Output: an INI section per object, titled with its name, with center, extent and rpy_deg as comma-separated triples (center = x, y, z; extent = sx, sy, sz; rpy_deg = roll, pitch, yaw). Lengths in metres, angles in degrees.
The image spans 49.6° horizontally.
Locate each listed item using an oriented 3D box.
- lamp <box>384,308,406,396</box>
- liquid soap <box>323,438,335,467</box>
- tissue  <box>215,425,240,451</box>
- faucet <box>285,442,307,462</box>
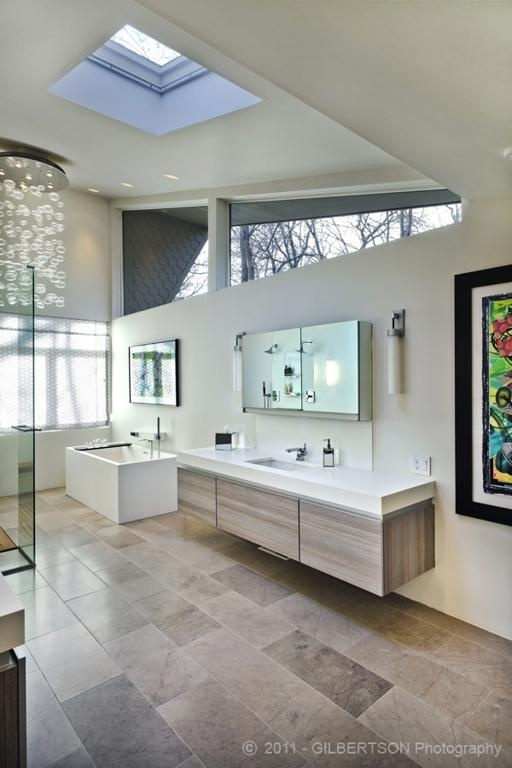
[lamp]
center = 0.791, -0.191, 3.205
extent = 0.124, 0.491, 0.121
rpy_deg = -3, 3, -44
[liquid soap]
center = 0.476, 0.446, 3.626
extent = 0.074, 0.158, 0.238
rpy_deg = -1, 2, 7
[tissue ]
center = -0.277, 0.430, 4.461
extent = 0.173, 0.252, 0.175
rpy_deg = 2, 4, 21
[faucet]
center = 0.303, 0.492, 3.946
extent = 0.068, 0.146, 0.193
rpy_deg = -3, -6, 35
